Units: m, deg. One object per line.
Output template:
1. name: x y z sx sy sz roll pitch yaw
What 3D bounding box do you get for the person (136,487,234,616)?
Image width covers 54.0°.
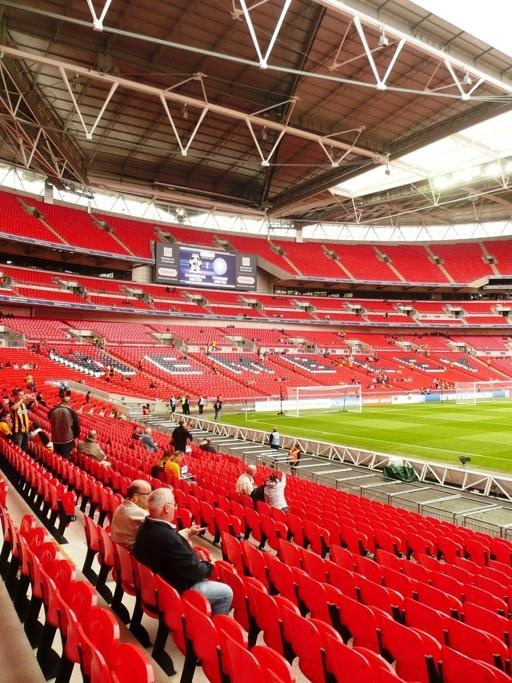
1. person: -0.486 1.388 3.311 0.662 0.805 0.260 4 0 17
